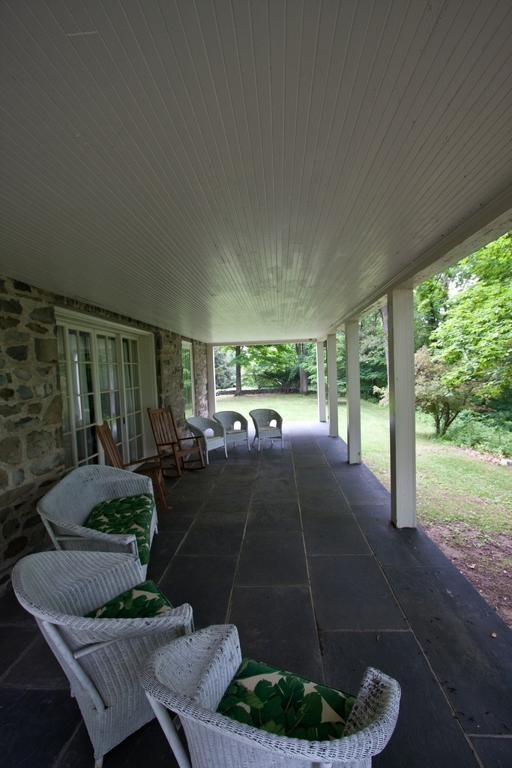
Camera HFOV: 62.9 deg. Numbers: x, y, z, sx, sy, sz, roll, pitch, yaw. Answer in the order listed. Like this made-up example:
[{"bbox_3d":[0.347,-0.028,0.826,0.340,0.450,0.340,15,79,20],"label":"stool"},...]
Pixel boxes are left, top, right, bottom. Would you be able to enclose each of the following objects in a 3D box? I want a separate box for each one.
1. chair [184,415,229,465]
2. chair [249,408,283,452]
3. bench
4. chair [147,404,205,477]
[{"bbox_3d":[-0.688,0.802,6.179,0.568,0.836,0.585,-5,-2,40],"label":"chair"},{"bbox_3d":[0.135,0.746,7.106,0.515,0.609,1.485,-1,3,0],"label":"chair"},{"bbox_3d":[-0.980,0.900,2.740,0.518,0.598,0.938,-4,11,-10],"label":"bench"},{"bbox_3d":[-0.947,0.672,4.978,0.499,0.823,0.623,-6,-3,-33],"label":"chair"}]
